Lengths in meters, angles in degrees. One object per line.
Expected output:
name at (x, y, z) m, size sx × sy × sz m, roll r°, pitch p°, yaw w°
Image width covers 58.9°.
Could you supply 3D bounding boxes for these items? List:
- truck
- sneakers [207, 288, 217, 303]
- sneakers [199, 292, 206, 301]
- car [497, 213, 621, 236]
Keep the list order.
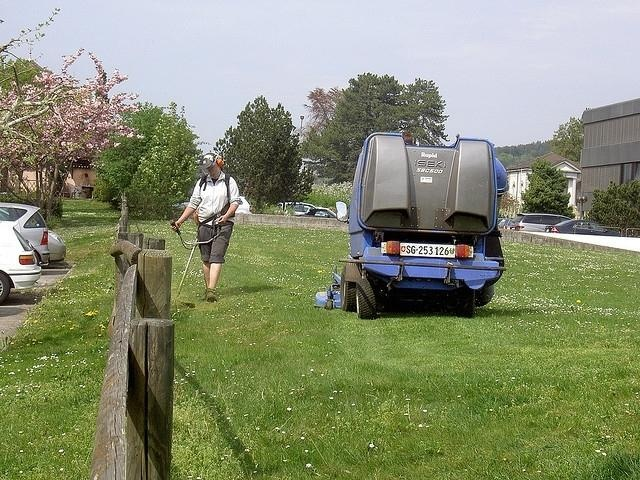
truck at (1.696, -0.391, 11.238) m, size 2.093 × 2.383 × 3.739 m, roll 1°, pitch 6°, yaw -3°
sneakers at (-2.172, 1.097, 11.320) m, size 0.215 × 0.267 × 0.206 m, roll 3°, pitch 4°, yaw -12°
sneakers at (-2.410, 1.156, 11.587) m, size 0.072 × 0.183 × 0.109 m, roll 7°, pitch -33°, yaw 10°
car at (16.740, -1.112, 39.973) m, size 7.332 × 0.869 × 2.522 m, roll 4°, pitch 4°, yaw -9°
